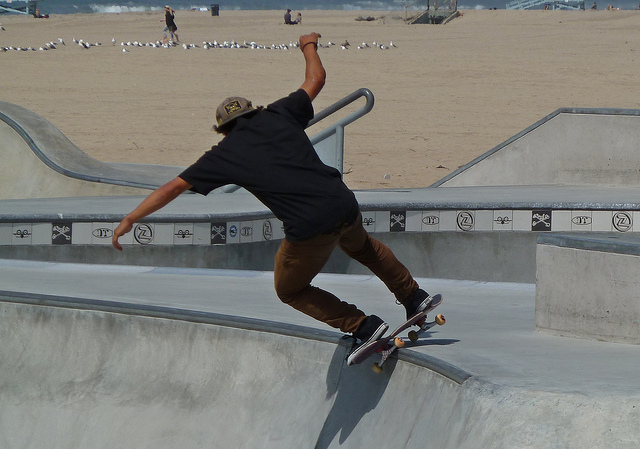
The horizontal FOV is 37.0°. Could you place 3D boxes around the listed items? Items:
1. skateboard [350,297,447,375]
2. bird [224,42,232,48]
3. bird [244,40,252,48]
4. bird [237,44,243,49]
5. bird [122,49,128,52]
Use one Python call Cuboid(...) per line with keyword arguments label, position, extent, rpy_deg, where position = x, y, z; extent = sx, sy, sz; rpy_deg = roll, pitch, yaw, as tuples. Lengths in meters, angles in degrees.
Cuboid(label="skateboard", position=(0.687, 0.819, 7.912), extent=(1.055, 0.408, 0.183), rpy_deg=(-34, 53, -18))
Cuboid(label="bird", position=(-3.413, -6.724, 35.421), extent=(0.196, 0.122, 0.283), rpy_deg=(-18, 25, -25))
Cuboid(label="bird", position=(-2.701, -6.732, 35.529), extent=(0.283, 0.196, 0.621), rpy_deg=(22, 5, -14))
Cuboid(label="bird", position=(-2.951, -6.565, 34.970), extent=(0.163, 0.084, 0.290), rpy_deg=(13, 5, -4))
Cuboid(label="bird", position=(-6.751, -6.063, 33.003), extent=(0.180, 0.113, 0.361), rpy_deg=(-4, 2, -4))
